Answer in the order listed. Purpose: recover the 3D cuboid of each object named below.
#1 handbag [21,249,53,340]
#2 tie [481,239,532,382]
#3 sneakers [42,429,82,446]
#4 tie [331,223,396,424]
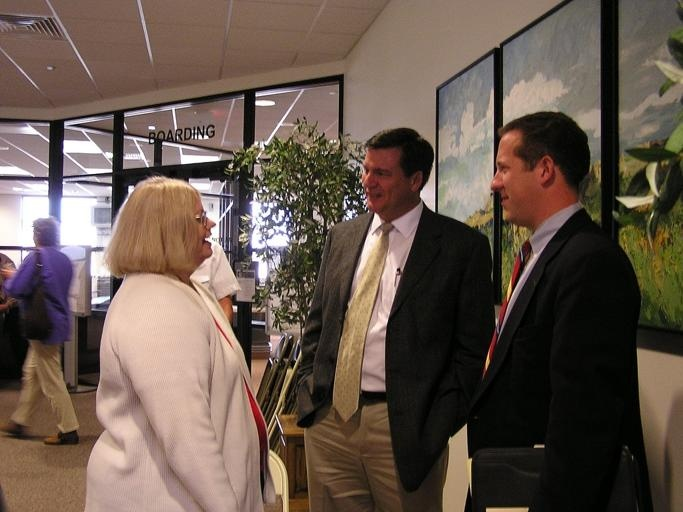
[{"bbox_3d":[-2.863,0.403,5.691,0.263,0.439,1.186,6,46,-31],"label":"handbag"},{"bbox_3d":[0.574,0.192,2.112,0.033,0.544,0.074,15,-7,27],"label":"tie"},{"bbox_3d":[-2.409,1.535,5.189,0.255,0.205,0.128,6,-4,-5],"label":"sneakers"},{"bbox_3d":[0.061,0.314,2.452,0.116,0.956,0.084,9,27,2],"label":"tie"}]
